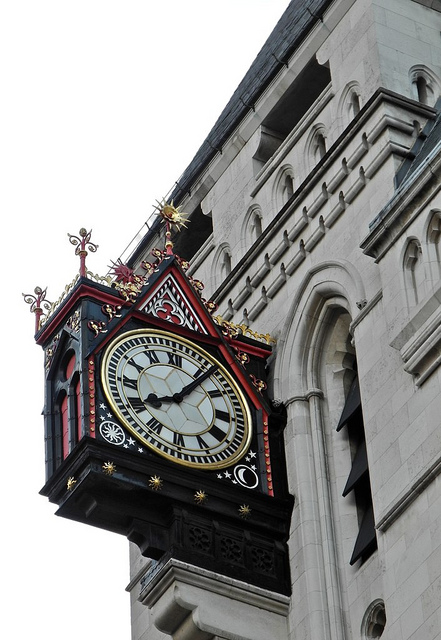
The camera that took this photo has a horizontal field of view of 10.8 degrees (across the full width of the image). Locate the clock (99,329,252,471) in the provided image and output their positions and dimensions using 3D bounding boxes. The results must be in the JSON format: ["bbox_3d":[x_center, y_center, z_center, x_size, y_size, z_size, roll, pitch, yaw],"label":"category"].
[{"bbox_3d":[-0.881,1.250,36.061,2.147,2.267,0.161,11,-43,-43],"label":"clock"}]
